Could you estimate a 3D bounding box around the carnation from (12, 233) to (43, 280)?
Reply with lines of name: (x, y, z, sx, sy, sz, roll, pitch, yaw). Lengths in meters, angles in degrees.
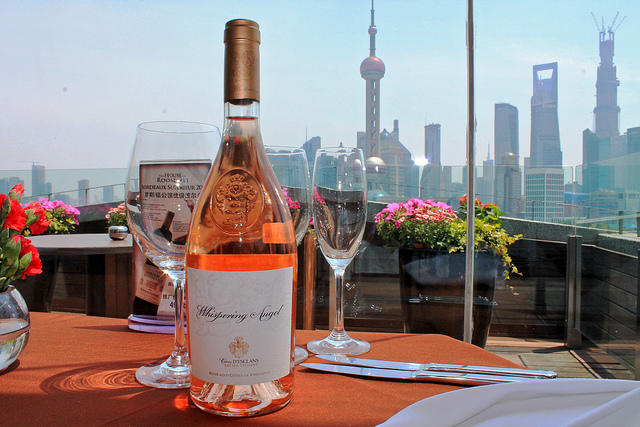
carnation: (-1.720, 0.261, 3.608, 0.129, 0.252, 0.133, -1, 2, -22)

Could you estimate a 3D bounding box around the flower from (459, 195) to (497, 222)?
flower: (1.303, -0.032, 5.082, 0.357, 0.225, 0.421, 1, 2, 19)

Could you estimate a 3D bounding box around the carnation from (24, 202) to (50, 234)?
carnation: (-1.694, 0.021, 3.573, 0.142, 0.128, 0.119, -3, 23, -42)

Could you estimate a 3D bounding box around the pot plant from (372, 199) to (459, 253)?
pot plant: (0.812, 0.088, 5.108, 0.548, 0.315, 0.510, 0, 1, -30)
